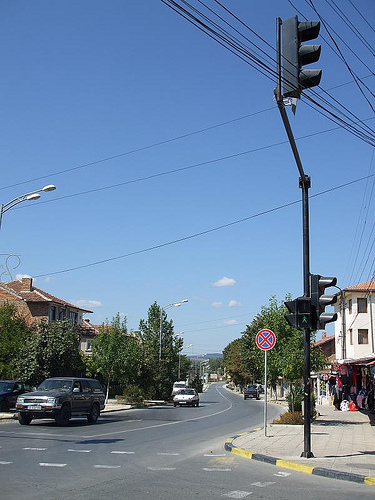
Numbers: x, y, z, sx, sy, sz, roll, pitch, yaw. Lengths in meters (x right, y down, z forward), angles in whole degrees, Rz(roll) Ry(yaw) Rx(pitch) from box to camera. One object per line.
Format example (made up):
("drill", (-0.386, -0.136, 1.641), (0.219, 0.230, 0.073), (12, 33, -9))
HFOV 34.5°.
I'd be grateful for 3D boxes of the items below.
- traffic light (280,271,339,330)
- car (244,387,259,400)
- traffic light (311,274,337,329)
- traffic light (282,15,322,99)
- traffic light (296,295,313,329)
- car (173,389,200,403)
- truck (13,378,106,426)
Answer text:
("traffic light", (2.505, 1.086, 12.615), (1.358, 1.167, 0.367), (1, -1, -24))
("car", (7.056, 15.761, 66.138), (1.559, 1.171, 2.305), (0, -13, 3))
("traffic light", (2.816, 1.061, 12.430), (0.537, 1.111, 0.596), (-1, -14, 8))
("traffic light", (1.797, -3.064, 9.487), (0.568, 1.083, 1.187), (-1, -13, 9))
("traffic light", (2.417, 1.263, 12.440), (0.323, 0.676, 0.292), (-3, -14, 14))
("car", (-0.066, 10.784, 44.437), (1.717, 0.932, 2.008), (1, -13, -1))
("truck", (-4.598, 5.327, 21.497), (1.642, 1.190, 3.196), (-5, -16, 13))
